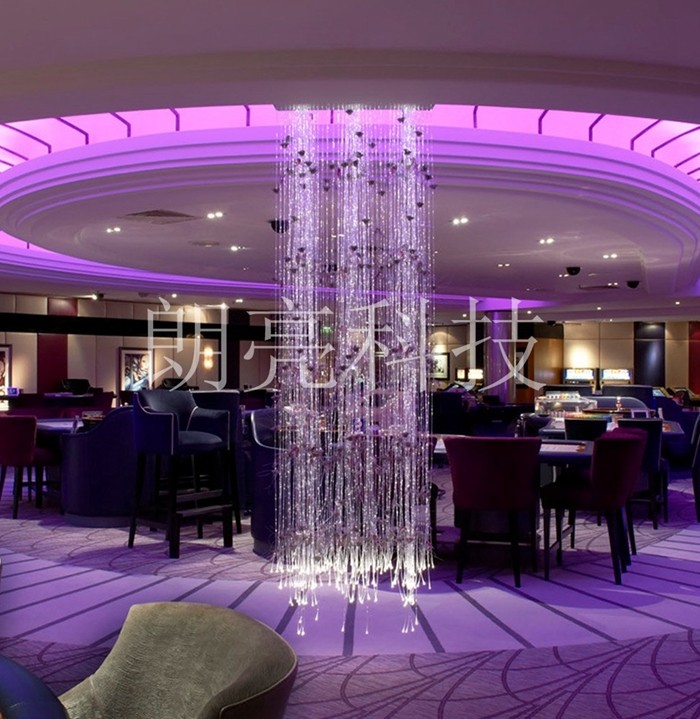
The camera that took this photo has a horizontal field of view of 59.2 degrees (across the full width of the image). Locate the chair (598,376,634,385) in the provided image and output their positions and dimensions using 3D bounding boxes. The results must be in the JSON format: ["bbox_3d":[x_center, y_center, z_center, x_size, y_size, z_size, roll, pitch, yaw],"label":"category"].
[{"bbox_3d":[8.913,0.739,20.898,0.970,0.228,0.291,-2,-5,19],"label":"chair"}]

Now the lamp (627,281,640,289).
[{"bbox_3d":[5.980,-1.604,13.122,0.188,0.045,0.196,2,-6,2],"label":"lamp"}]

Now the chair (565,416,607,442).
[{"bbox_3d":[2.222,0.654,5.855,0.311,0.212,0.275,1,1,-37],"label":"chair"}]

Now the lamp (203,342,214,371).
[{"bbox_3d":[-4.113,-0.073,17.964,0.367,0.777,0.099,2,-6,-23],"label":"lamp"}]

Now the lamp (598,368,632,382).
[{"bbox_3d":[8.944,0.558,20.884,0.677,0.649,0.510,2,4,24],"label":"lamp"}]

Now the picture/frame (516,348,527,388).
[{"bbox_3d":[5.678,0.303,20.695,0.334,1.198,0.260,-2,-5,16],"label":"picture/frame"}]

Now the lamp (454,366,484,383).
[{"bbox_3d":[3.947,0.513,20.066,0.431,0.504,0.778,-3,4,-44],"label":"lamp"}]

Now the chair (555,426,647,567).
[{"bbox_3d":[1.826,1.027,4.554,0.623,0.997,1.206,-2,-5,20],"label":"chair"}]
